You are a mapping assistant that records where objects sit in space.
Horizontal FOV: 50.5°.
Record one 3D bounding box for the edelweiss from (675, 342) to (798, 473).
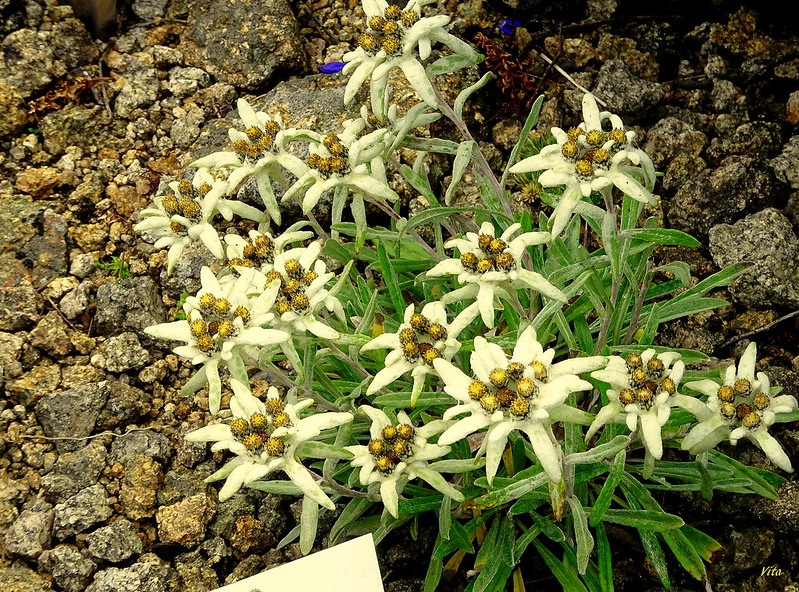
[{"bbox_3d":[1.897,0.578,4.704,0.577,0.292,0.654,12,80,12],"label":"edelweiss"}]
